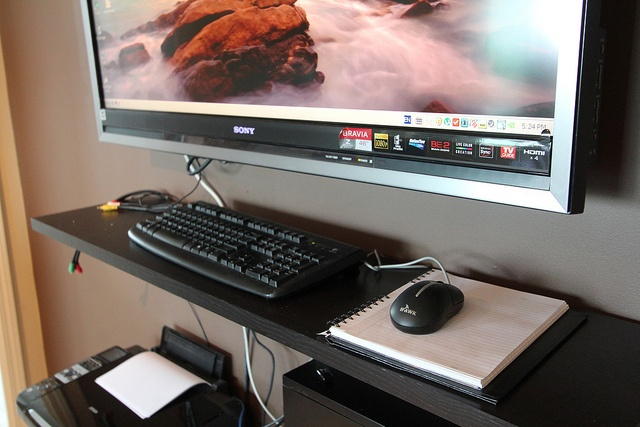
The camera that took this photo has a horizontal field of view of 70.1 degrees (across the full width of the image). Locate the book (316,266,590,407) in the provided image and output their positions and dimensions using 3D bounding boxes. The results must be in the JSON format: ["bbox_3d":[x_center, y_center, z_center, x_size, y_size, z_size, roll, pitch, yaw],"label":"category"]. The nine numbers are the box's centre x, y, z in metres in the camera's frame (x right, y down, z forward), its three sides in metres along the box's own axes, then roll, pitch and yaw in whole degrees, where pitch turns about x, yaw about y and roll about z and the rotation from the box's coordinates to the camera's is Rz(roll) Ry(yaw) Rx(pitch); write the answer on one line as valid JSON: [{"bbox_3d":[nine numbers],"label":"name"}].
[{"bbox_3d":[0.275,0.207,0.796,0.263,0.037,0.259,11,24,41],"label":"book"}]
